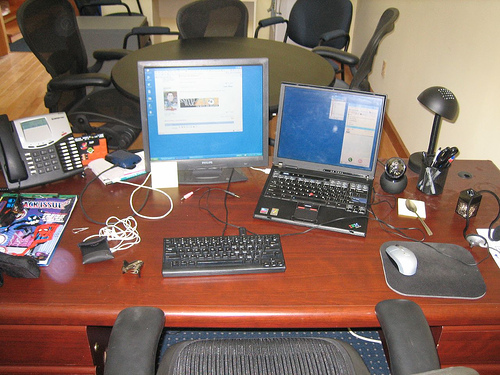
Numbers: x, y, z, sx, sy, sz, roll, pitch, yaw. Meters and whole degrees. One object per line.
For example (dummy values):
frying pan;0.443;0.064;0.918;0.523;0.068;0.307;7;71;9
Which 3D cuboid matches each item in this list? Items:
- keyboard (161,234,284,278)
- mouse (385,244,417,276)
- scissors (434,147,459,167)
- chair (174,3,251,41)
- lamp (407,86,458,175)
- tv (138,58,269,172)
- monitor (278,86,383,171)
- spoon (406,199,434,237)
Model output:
keyboard;-0.104;0.239;1.529;0.425;0.067;0.168;-1;40;-15
mouse;0.542;0.257;1.520;0.065;0.041;0.114;-7;39;-8
scissors;0.815;-0.131;1.742;0.075;0.087;0.035;3;33;1
chair;-0.298;-1.343;3.381;0.287;0.405;0.279;-10;48;-6
lamp;0.782;-0.238;1.810;0.166;0.391;0.163;-21;40;-32
tv;-0.186;-0.305;1.767;0.535;0.458;0.139;-1;33;-6
monitor;0.337;-0.252;1.758;0.334;0.249;0.008;9;18;10
spoon;0.679;0.101;1.685;0.039;0.024;0.206;-8;53;0
